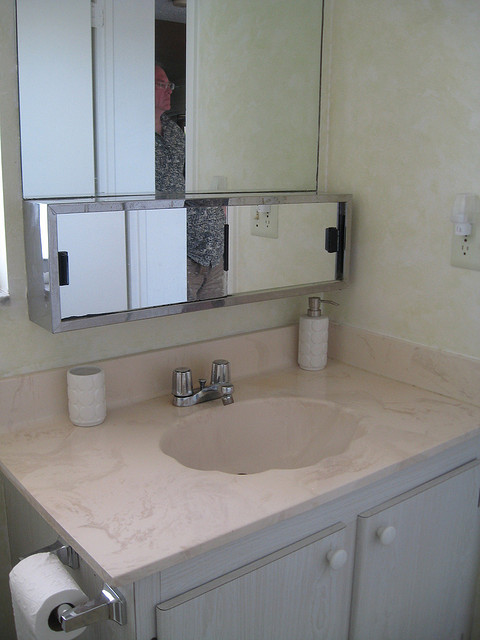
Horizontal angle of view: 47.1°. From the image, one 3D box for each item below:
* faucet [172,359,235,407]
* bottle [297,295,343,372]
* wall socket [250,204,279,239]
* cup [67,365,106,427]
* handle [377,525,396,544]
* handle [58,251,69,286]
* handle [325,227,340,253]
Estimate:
[{"bbox_3d":[-0.078,0.148,1.264,0.157,0.077,0.081,-4,13,-38],"label":"faucet"},{"bbox_3d":[0.224,0.027,1.553,0.115,0.199,0.181,4,12,17],"label":"bottle"},{"bbox_3d":[0.055,-0.235,1.289,0.074,0.099,0.010,-10,21,-35],"label":"wall socket"},{"bbox_3d":[-0.311,0.157,1.125,0.075,0.109,0.071,0,8,0],"label":"cup"},{"bbox_3d":[0.260,0.379,0.974,0.032,0.032,0.021,-24,19,-33],"label":"handle"},{"bbox_3d":[-0.314,-0.093,0.984,0.007,0.062,0.022,9,14,35],"label":"handle"},{"bbox_3d":[0.241,-0.210,1.430,0.050,0.064,0.013,-10,16,-41],"label":"handle"}]
